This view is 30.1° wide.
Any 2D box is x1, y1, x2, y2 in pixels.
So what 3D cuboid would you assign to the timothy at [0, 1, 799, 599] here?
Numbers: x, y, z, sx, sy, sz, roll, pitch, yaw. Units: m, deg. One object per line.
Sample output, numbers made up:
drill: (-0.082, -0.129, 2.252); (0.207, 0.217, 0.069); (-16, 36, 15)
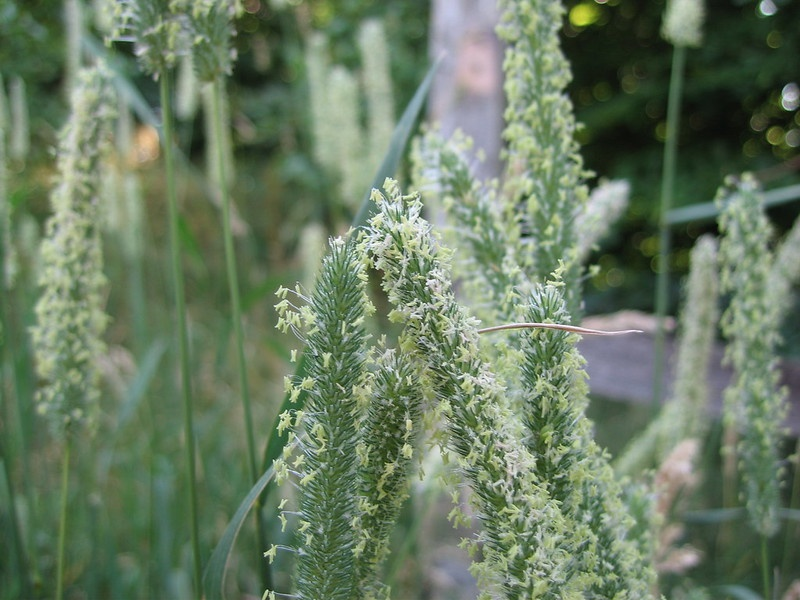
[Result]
timothy: (0.084, 0.008, 1.748); (0.774, 0.706, 0.286); (-1, 2, -21)
